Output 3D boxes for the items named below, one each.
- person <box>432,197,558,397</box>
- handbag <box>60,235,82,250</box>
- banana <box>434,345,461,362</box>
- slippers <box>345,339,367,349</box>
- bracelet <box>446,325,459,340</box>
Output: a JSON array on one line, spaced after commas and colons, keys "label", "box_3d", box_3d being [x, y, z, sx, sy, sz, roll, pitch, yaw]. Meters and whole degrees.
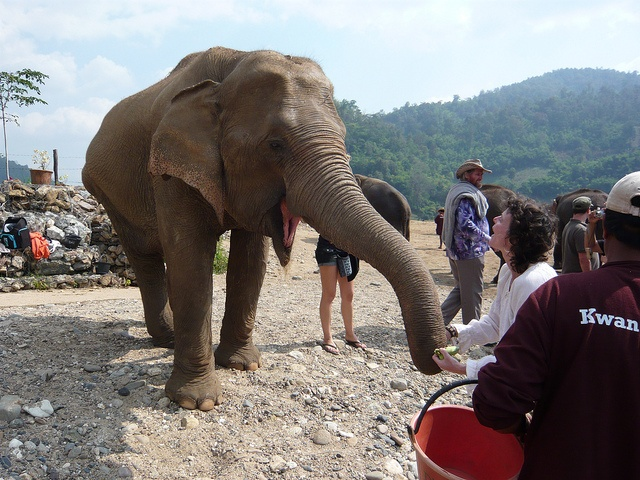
[{"label": "person", "box_3d": [1.202, 0.328, 3.791, 0.942, 1.274, 0.899, -4, 10, -17]}, {"label": "handbag", "box_3d": [-4.706, 0.050, 10.322, 0.263, 0.196, 0.261, -1, 2, -37]}, {"label": "banana", "box_3d": [0.798, 0.724, 3.432, 0.123, 0.053, 0.145, 1, 4, 9]}, {"label": "slippers", "box_3d": [0.416, 1.205, 6.292, 0.204, 0.052, 0.097, 10, 13, 27]}, {"label": "bracelet", "box_3d": [0.935, 0.659, 3.837, 0.067, 0.091, 0.069, -2, -11, 20]}]
